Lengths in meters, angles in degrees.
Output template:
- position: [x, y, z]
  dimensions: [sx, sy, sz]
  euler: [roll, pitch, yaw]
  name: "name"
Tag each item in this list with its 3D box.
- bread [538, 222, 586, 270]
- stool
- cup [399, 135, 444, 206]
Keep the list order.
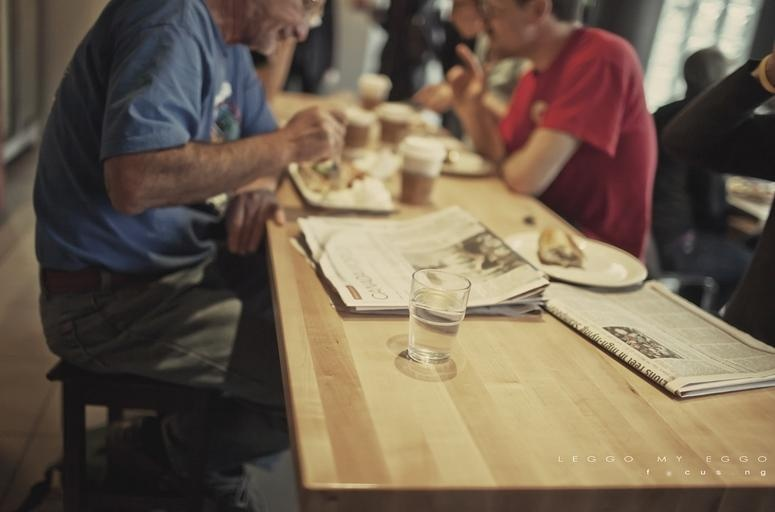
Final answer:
- position: [0.381, -0.034, 1.321]
  dimensions: [0.074, 0.033, 0.100]
  euler: [10, 35, -5]
  name: "bread"
- position: [-0.520, 0.397, 1.391]
  dimensions: [0.377, 0.364, 0.302]
  euler: [7, 13, -12]
  name: "stool"
- position: [0.072, -0.194, 1.372]
  dimensions: [0.140, 0.161, 0.139]
  euler: [1, 26, -1]
  name: "cup"
